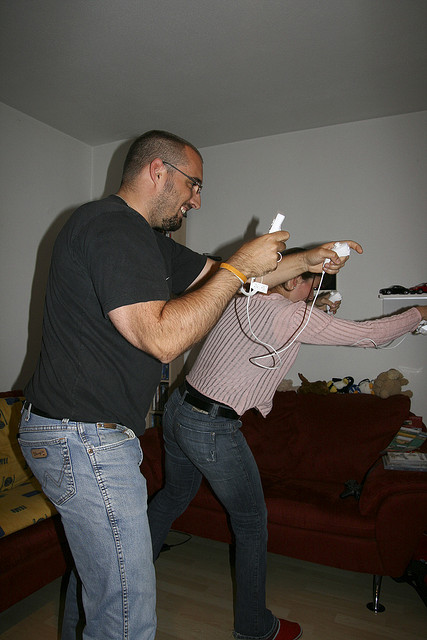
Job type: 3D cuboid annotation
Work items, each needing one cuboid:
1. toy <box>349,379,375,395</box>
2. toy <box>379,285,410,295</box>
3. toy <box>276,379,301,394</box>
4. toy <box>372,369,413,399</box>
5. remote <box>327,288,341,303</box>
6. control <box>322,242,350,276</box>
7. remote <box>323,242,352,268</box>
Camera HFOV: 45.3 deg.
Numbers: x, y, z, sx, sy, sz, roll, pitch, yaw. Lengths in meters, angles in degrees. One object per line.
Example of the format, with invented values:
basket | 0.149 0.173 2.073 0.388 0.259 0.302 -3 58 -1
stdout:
toy | 0.888 0.399 3.033 0.117 0.050 0.083 -7 0 -5
toy | 1.094 -0.186 3.095 0.126 0.043 0.059 3 2 20
toy | 0.456 0.404 3.136 0.129 0.038 0.130 5 6 34
toy | 1.005 0.353 2.885 0.183 0.174 0.244 4 -6 5
remote | 0.591 -0.123 2.520 0.060 0.061 0.109 31 15 -2
control | 0.388 -0.201 1.550 0.044 0.148 0.038 35 -26 21
remote | 0.377 -0.197 1.542 0.060 0.093 0.026 51 -8 42
